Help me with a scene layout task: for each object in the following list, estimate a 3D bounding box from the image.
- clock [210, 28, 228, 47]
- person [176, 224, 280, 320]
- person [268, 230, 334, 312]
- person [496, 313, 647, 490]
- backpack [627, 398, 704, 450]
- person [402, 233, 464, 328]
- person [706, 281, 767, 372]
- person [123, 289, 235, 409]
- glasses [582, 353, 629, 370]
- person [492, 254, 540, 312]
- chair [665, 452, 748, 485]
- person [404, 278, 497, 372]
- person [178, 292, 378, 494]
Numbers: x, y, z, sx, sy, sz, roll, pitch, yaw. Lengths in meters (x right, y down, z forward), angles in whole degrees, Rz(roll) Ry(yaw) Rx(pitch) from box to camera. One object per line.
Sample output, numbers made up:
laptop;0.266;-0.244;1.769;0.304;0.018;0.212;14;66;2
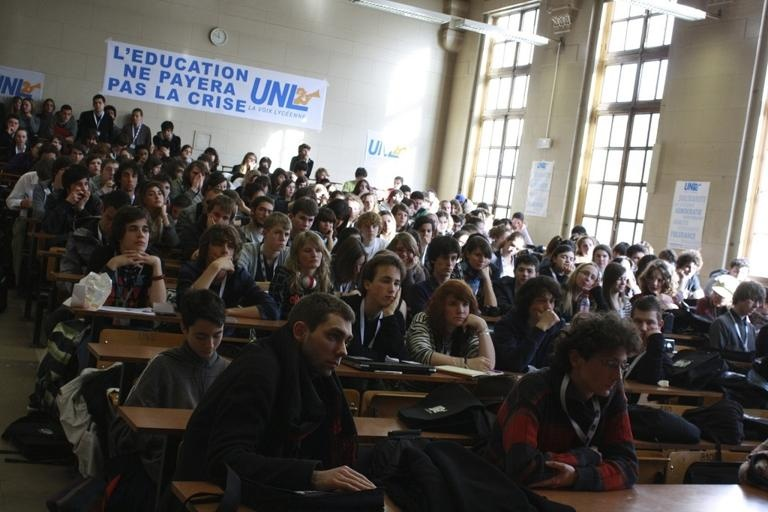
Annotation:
clock;-4.006;-5.288;13.628;0.401;0.402;0.395;-9;10;-41
person;-1.309;0.235;4.564;0.767;0.980;0.849;4;-2;-27
person;-0.726;0.152;4.855;0.518;0.749;0.402;-4;18;-28
person;0.892;0.712;2.834;0.666;0.852;0.757;11;-7;-22
backpack;1.694;1.034;3.439;0.277;0.101;0.278;0;2;-17
person;0.531;0.250;5.287;0.558;0.880;0.491;8;2;-23
person;3.554;0.734;5.657;0.544;0.911;0.490;22;-11;-30
person;-1.218;0.563;3.327;0.577;0.715;0.250;8;0;-40
glasses;1.041;0.491;2.614;0.098;0.035;0.125;5;0;-32
person;1.469;0.328;6.072;0.538;0.720;0.776;12;4;14
chair;1.885;1.239;3.298;0.335;0.116;0.256;0;8;-6
person;0.471;0.530;4.312;0.759;0.724;0.738;1;1;40
person;-0.472;0.611;2.471;0.718;0.818;0.843;-3;-14;16
